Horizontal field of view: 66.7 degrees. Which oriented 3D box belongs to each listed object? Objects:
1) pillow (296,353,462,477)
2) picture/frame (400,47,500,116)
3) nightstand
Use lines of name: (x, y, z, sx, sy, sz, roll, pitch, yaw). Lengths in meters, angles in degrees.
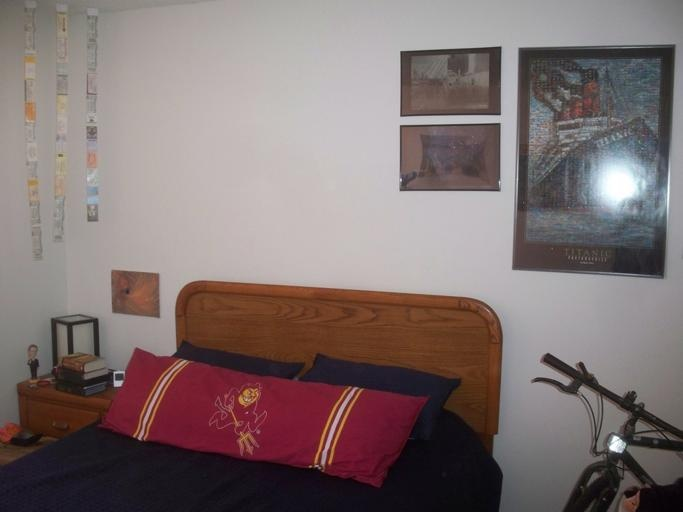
pillow: (0.265, 0.787, 2.759, 0.599, 0.168, 0.364, 6, 28, 25)
picture/frame: (0.609, -0.947, 2.787, 0.371, 0.241, 0.007, 2, 8, 18)
nightstand: (-1.692, 0.923, 3.184, 0.562, 0.392, 0.343, 5, 6, 23)
